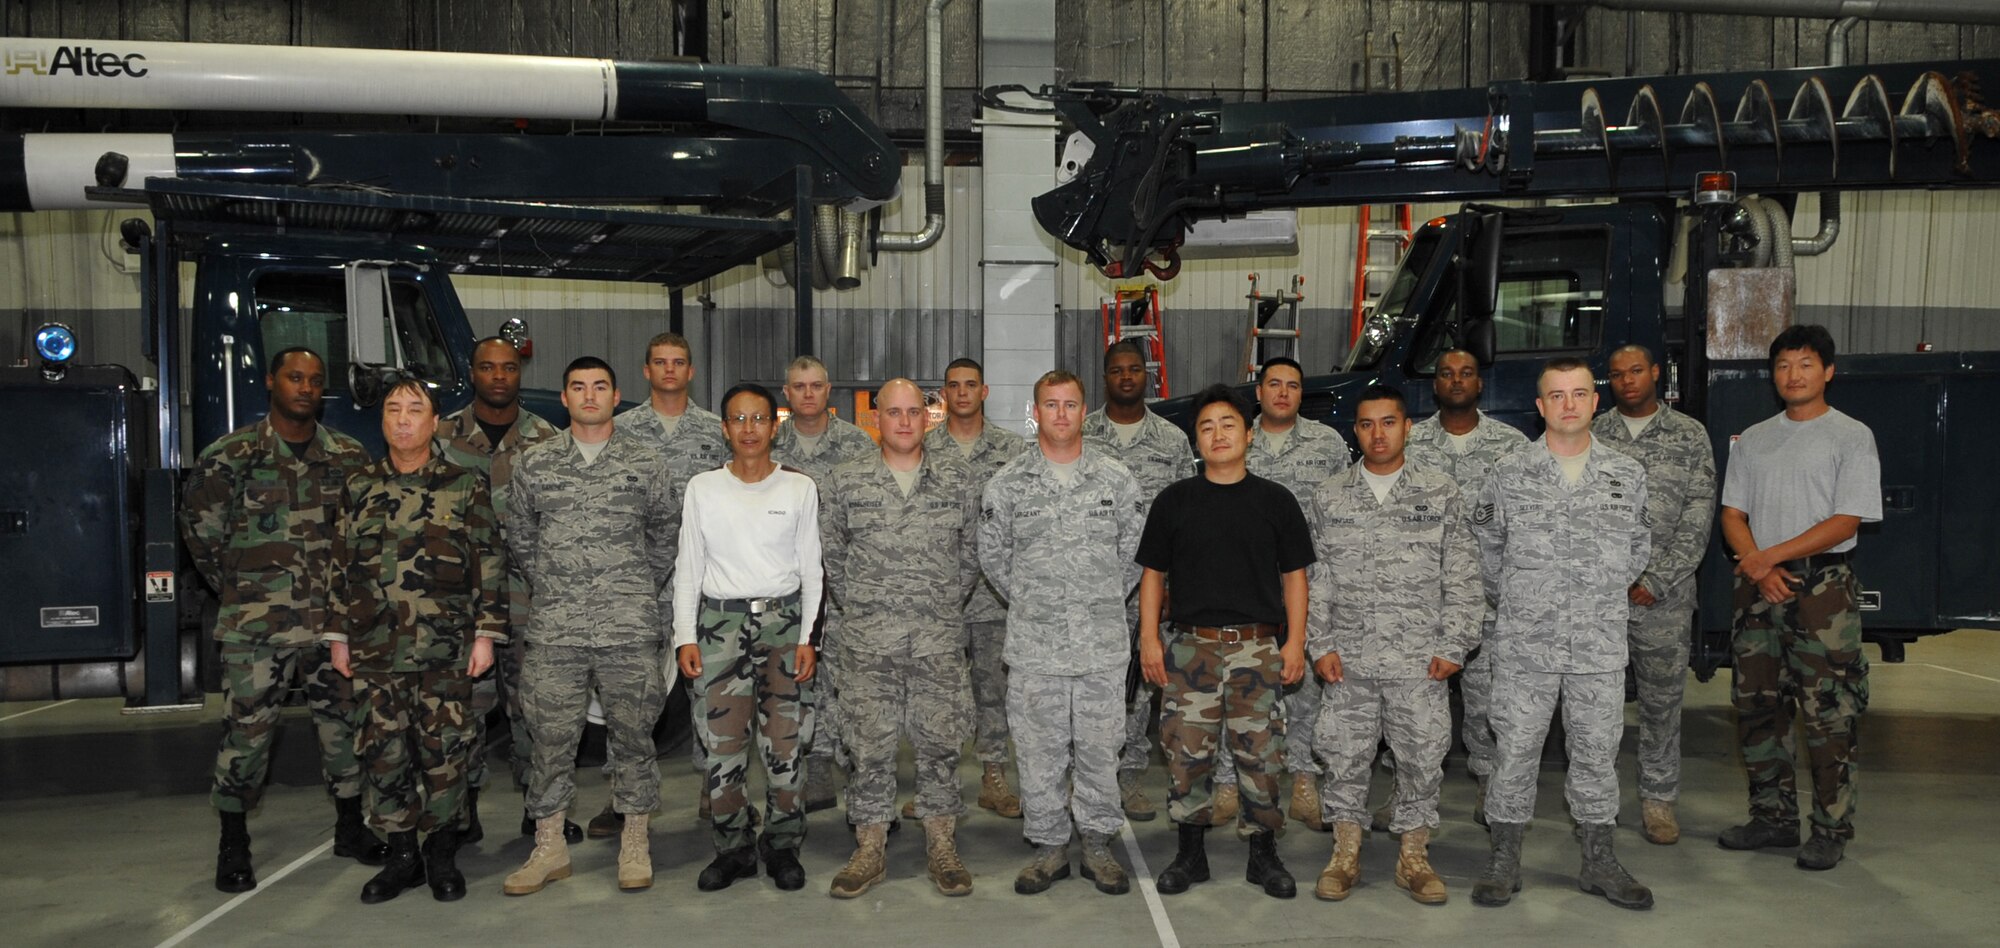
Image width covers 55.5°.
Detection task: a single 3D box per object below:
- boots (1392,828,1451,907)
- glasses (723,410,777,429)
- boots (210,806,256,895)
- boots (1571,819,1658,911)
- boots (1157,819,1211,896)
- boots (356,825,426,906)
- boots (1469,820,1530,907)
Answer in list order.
[{"bbox_3d":[3.704,3.405,16.704,0.446,0.617,0.247,1,7,10],"label":"boots"},{"bbox_3d":[-2.190,-0.478,16.759,0.244,0.182,0.057,-1,23,1],"label":"glasses"},{"bbox_3d":[-6.832,3.326,16.966,0.396,0.612,0.728,1,15,-26],"label":"boots"},{"bbox_3d":[5.409,3.392,16.701,0.371,0.625,0.777,-10,11,-28],"label":"boots"},{"bbox_3d":[1.583,3.354,16.856,0.343,0.543,0.703,7,10,35],"label":"boots"},{"bbox_3d":[-5.431,3.398,16.847,0.371,0.572,0.727,9,12,19],"label":"boots"},{"bbox_3d":[4.363,3.352,16.738,0.407,0.658,0.831,6,11,29],"label":"boots"}]
